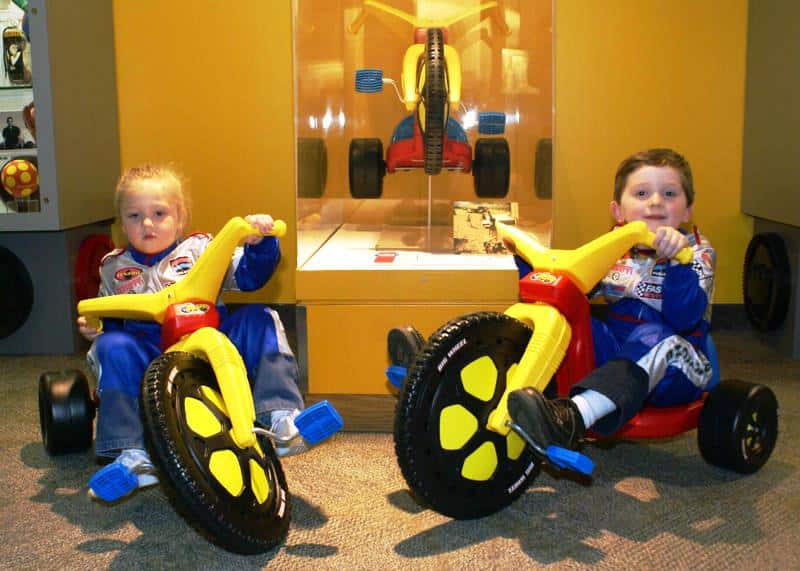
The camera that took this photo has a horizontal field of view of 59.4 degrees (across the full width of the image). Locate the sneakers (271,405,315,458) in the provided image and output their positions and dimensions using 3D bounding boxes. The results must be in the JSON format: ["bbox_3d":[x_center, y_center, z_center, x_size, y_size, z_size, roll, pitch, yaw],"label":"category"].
[{"bbox_3d":[-0.322,0.419,2.011,0.101,0.062,0.185,-10,62,1],"label":"sneakers"}]

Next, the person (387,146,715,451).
[{"bbox_3d":[0.622,0.017,2.252,0.848,0.897,0.686,-6,10,-33],"label":"person"}]

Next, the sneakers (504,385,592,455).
[{"bbox_3d":[0.397,0.346,1.860,0.216,0.180,0.115,-12,20,-35],"label":"sneakers"}]

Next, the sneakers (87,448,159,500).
[{"bbox_3d":[-0.731,0.513,1.832,0.182,0.072,0.132,-21,-4,43],"label":"sneakers"}]
